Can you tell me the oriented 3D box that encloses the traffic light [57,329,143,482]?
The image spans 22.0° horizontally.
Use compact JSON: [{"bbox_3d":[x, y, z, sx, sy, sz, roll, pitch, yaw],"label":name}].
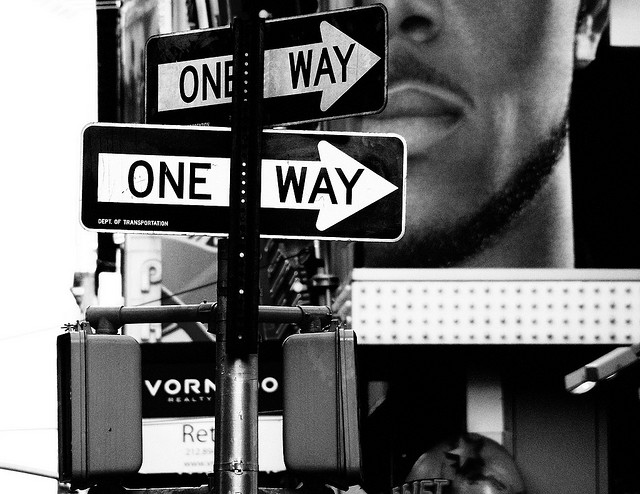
[{"bbox_3d":[-1.582,1.203,12.213,0.767,1.692,0.979,0,-7,-10],"label":"traffic light"}]
